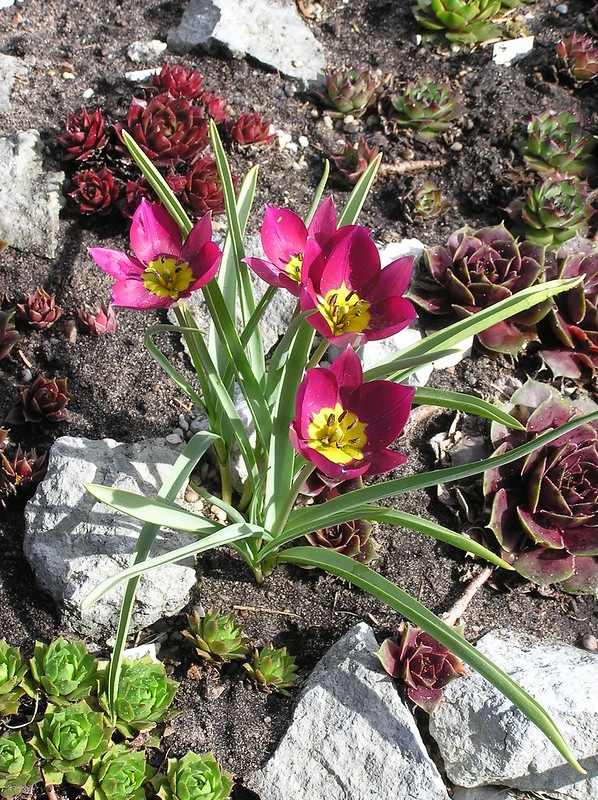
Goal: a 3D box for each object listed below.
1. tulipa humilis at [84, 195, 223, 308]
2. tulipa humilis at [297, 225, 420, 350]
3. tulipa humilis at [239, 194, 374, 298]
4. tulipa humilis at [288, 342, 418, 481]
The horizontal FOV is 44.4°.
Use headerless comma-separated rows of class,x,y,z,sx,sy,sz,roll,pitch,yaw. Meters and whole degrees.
tulipa humilis,-0.369,-0.358,1.985,0.345,0.295,0.158,1,54,-19
tulipa humilis,0.168,-0.260,1.710,0.243,0.200,0.223,29,54,11
tulipa humilis,0.032,-0.356,1.772,0.254,0.174,0.284,15,57,23
tulipa humilis,0.159,0.056,1.747,0.330,0.242,0.166,-16,54,5
